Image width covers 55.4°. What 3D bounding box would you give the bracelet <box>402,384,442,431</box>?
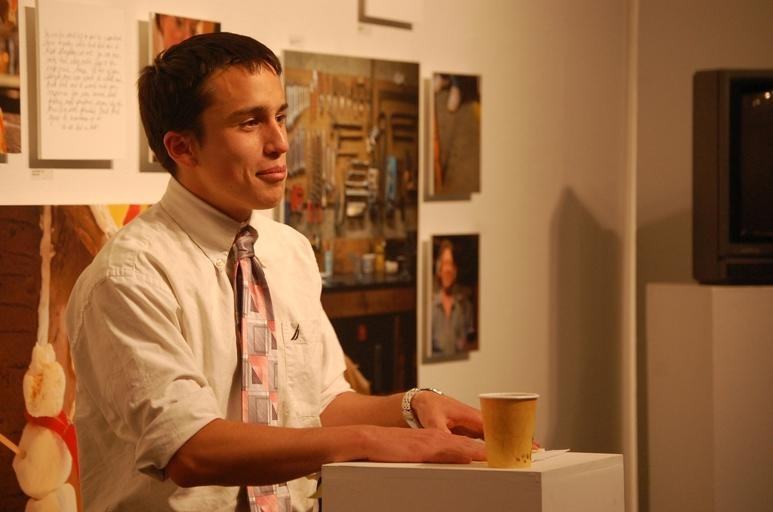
[{"bbox_3d":[0.102,0.407,2.088,0.103,0.104,0.040,0,12,3],"label":"bracelet"}]

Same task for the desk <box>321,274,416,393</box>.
[{"bbox_3d":[-0.080,0.261,2.628,0.388,0.412,0.211,-1,2,-37],"label":"desk"}]

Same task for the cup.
[{"bbox_3d":[0.269,0.385,1.694,0.140,0.158,0.140,-1,-5,0],"label":"cup"}]
